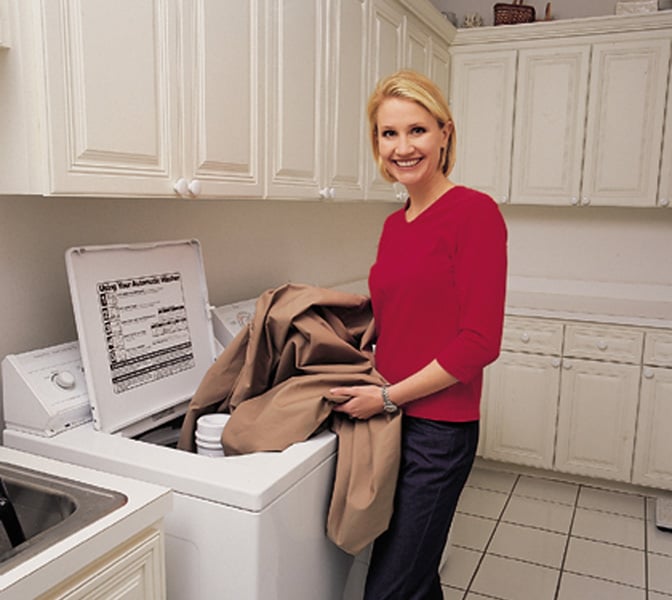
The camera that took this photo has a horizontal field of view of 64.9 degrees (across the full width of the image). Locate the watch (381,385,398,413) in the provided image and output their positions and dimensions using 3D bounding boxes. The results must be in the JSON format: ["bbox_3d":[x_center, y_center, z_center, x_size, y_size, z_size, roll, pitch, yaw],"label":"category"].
[{"bbox_3d":[0.128,0.243,1.276,0.046,0.057,0.024,-3,-9,-12],"label":"watch"}]

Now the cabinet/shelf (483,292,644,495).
[{"bbox_3d":[1.221,0.488,2.785,1.045,1.000,0.406,3,2,31],"label":"cabinet/shelf"}]
